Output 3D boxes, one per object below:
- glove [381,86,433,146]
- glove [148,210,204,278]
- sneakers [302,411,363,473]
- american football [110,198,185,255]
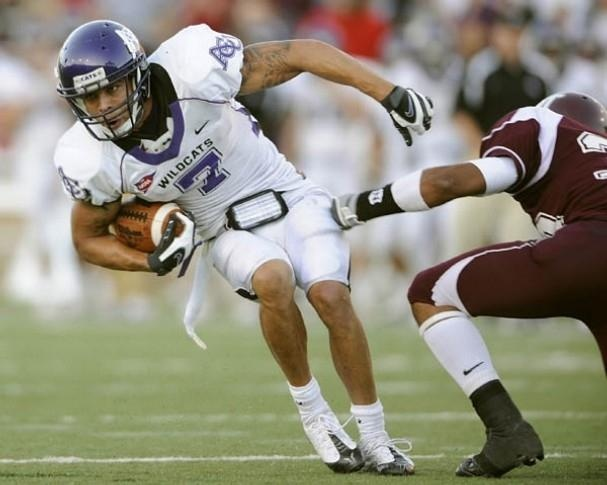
[{"bbox_3d":[0.462,-0.585,3.914,0.216,0.096,0.185,11,-4,37],"label":"glove"},{"bbox_3d":[-0.573,-0.021,4.029,0.184,0.287,0.223,-15,-50,15],"label":"glove"},{"bbox_3d":[0.128,0.895,3.947,0.174,0.191,0.469,-12,3,-14],"label":"sneakers"},{"bbox_3d":[-0.717,-0.078,4.031,0.325,0.178,0.185,15,-1,35],"label":"american football"}]
